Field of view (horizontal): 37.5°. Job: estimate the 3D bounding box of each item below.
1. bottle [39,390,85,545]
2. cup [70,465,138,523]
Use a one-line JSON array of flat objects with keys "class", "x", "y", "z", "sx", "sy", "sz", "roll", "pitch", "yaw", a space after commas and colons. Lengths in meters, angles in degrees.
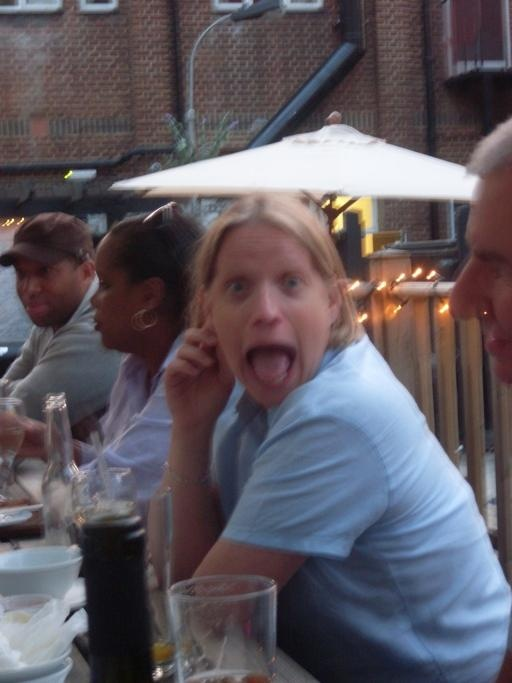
[{"class": "bottle", "x": -0.315, "y": 0.210, "z": 1.212, "sx": 0.057, "sy": 0.237, "sz": 0.400, "roll": -2, "pitch": 0, "yaw": -14}, {"class": "cup", "x": -0.200, "y": 0.215, "z": 1.026, "sx": 0.061, "sy": 0.068, "sz": 0.066, "roll": 6, "pitch": -14, "yaw": 1}]
